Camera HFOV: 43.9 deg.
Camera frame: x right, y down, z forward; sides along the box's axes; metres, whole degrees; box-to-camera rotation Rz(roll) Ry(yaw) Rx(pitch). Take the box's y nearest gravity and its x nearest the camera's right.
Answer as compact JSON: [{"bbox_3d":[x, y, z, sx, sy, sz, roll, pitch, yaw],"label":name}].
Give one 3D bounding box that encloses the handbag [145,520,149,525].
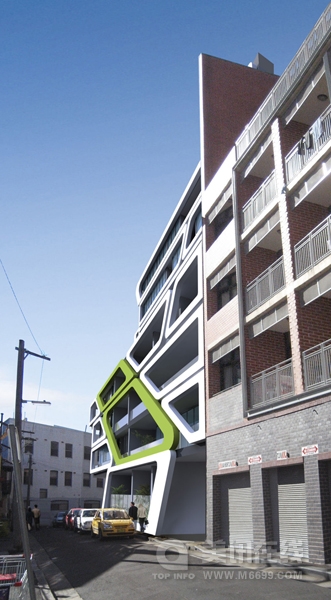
[{"bbox_3d":[-0.972,11.377,21.002,0.188,0.283,0.720,2,-21,0],"label":"handbag"}]
